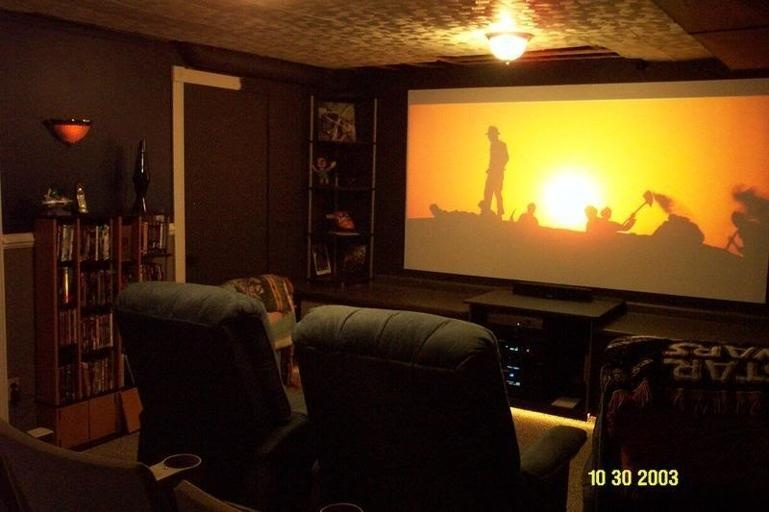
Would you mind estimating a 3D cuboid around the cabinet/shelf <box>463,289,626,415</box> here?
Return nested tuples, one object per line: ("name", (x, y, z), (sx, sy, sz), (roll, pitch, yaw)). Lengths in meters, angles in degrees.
("cabinet/shelf", (1.208, 0.722, 4.992), (0.898, 0.647, 0.717), (8, -7, -29))

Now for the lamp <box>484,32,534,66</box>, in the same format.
("lamp", (0.932, -1.591, 4.673), (0.279, 0.161, 0.232), (1, 7, -5))

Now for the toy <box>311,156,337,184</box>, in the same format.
("toy", (-0.667, -0.879, 6.232), (0.147, 0.356, 0.301), (0, 4, 39))

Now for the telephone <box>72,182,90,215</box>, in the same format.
("telephone", (-2.317, -0.427, 4.508), (0.089, 0.255, 0.097), (-10, 0, -44))

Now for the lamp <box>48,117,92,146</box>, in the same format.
("lamp", (-2.333, -0.907, 4.366), (0.221, 0.120, 0.215), (0, 1, 9))

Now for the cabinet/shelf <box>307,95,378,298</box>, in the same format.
("cabinet/shelf", (-0.439, -0.625, 6.171), (0.741, 1.817, 0.601), (-2, -5, 16))
